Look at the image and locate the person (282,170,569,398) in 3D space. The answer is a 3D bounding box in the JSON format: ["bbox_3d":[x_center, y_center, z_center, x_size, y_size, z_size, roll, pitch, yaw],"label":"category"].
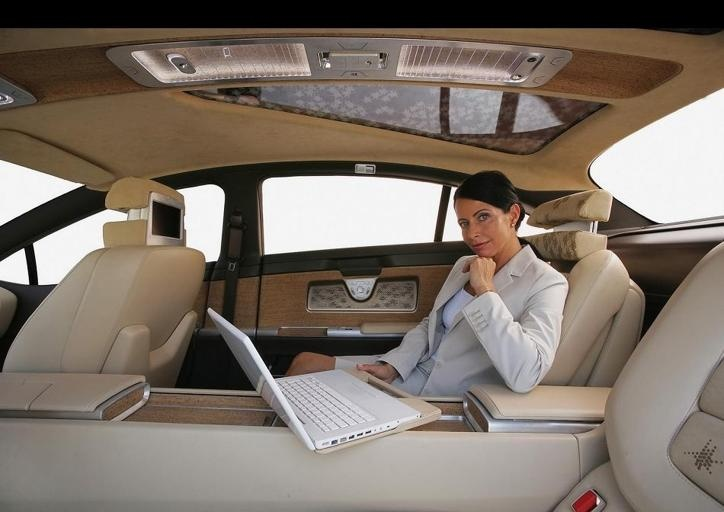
[{"bbox_3d":[0.290,0.219,1.807,1.165,1.029,0.879,6,3,-12],"label":"person"}]

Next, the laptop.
[{"bbox_3d":[-0.069,0.219,1.179,0.462,0.270,0.477,-4,7,-27],"label":"laptop"}]
